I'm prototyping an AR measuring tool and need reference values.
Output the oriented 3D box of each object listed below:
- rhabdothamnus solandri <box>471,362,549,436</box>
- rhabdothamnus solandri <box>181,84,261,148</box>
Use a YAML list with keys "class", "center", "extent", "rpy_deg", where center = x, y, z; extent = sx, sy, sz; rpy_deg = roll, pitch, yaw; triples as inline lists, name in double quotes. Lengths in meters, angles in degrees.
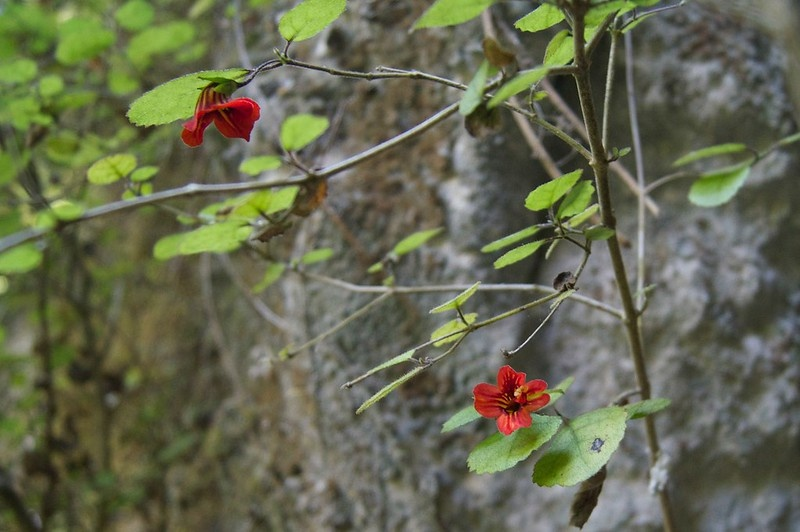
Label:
- class: "rhabdothamnus solandri"
  center: [0.376, 0.456, 3.188]
  extent: [0.218, 0.099, 0.253]
  rpy_deg: [-36, 33, -31]
- class: "rhabdothamnus solandri"
  center: [-0.611, -0.513, 3.195]
  extent: [0.185, 0.237, 0.252]
  rpy_deg: [-2, 52, -20]
